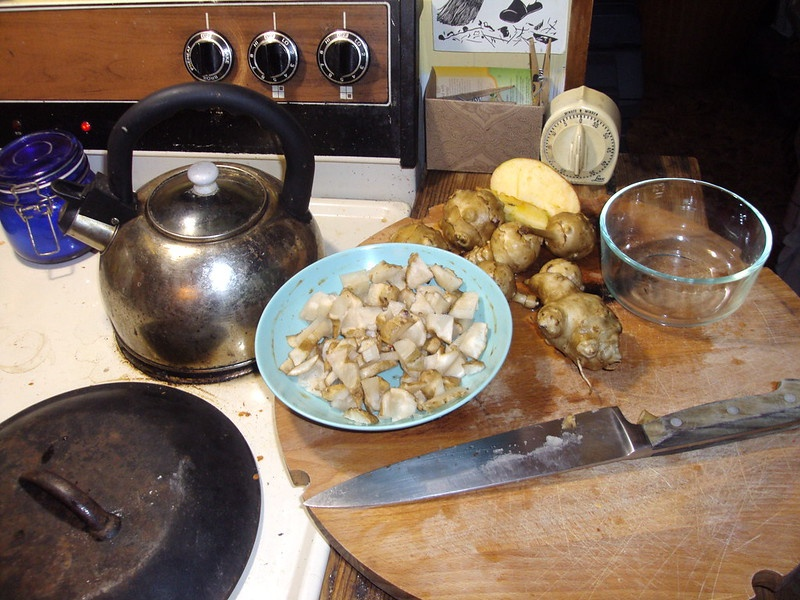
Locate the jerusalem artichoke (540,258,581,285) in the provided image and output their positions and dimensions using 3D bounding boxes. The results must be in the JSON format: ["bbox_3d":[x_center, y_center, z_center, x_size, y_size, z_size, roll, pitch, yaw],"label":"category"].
[{"bbox_3d":[0.296,-0.056,1.254,0.058,0.050,0.034,24,90,20],"label":"jerusalem artichoke"}]

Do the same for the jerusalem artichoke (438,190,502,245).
[{"bbox_3d":[0.134,-0.152,1.336,0.092,0.101,0.113,-5,78,16],"label":"jerusalem artichoke"}]

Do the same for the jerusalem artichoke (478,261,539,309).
[{"bbox_3d":[0.195,-0.031,1.232,0.126,0.064,0.065,30,78,-14],"label":"jerusalem artichoke"}]

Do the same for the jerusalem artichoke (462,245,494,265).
[{"bbox_3d":[0.151,-0.087,1.293,0.042,0.015,0.044,3,30,14],"label":"jerusalem artichoke"}]

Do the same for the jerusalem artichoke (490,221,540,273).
[{"bbox_3d":[0.220,-0.093,1.263,0.082,0.050,0.088,-6,83,-5],"label":"jerusalem artichoke"}]

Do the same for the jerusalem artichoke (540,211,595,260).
[{"bbox_3d":[0.319,-0.121,1.291,0.072,0.096,0.060,32,100,21],"label":"jerusalem artichoke"}]

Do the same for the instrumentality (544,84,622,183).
[{"bbox_3d":[0.388,-0.353,1.459,0.165,0.176,0.115,10,52,9],"label":"instrumentality"}]

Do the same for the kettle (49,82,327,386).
[{"bbox_3d":[-0.302,-0.155,1.198,0.442,0.493,0.404,-1,40,-15],"label":"kettle"}]

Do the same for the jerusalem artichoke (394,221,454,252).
[{"bbox_3d":[0.036,-0.127,1.306,0.070,0.026,0.071,-1,35,-27],"label":"jerusalem artichoke"}]
